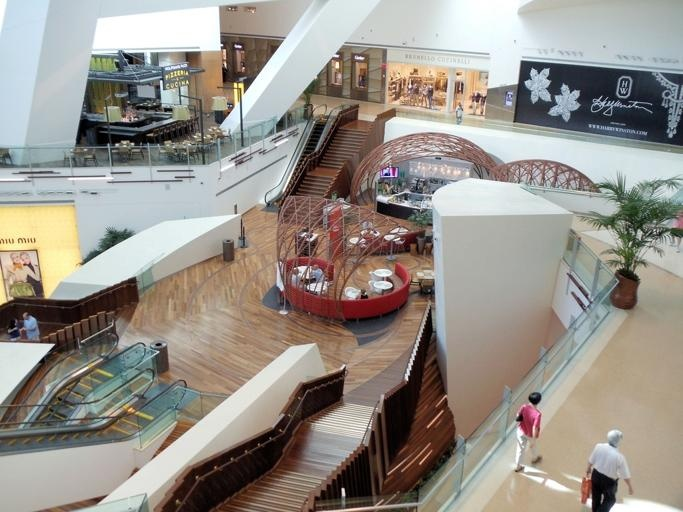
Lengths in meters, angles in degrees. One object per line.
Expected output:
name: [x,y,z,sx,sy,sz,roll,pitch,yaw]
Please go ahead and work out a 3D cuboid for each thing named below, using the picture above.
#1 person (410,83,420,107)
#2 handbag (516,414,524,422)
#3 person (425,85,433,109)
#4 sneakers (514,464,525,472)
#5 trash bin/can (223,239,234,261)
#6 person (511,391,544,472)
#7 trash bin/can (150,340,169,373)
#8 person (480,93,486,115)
person: [4.082,-8.813,27.671,0.514,1.221,0.298,6,15,23]
handbag: [2.368,2.146,6.667,0.071,0.097,0.037,43,39,18]
person: [4.828,-8.568,27.177,0.347,1.165,0.213,5,15,22]
sneakers: [2.375,2.831,6.699,0.072,0.052,0.129,13,32,30]
trash bin/can: [-3.934,-0.201,17.410,0.403,0.728,0.543,-4,14,-14]
person: [2.572,2.349,6.848,0.368,0.901,0.734,5,15,21]
trash bin/can: [-4.351,2.464,12.046,0.357,0.761,0.560,-6,15,-22]
person: [7.248,-7.683,25.724,0.239,1.003,1.058,2,15,11]
